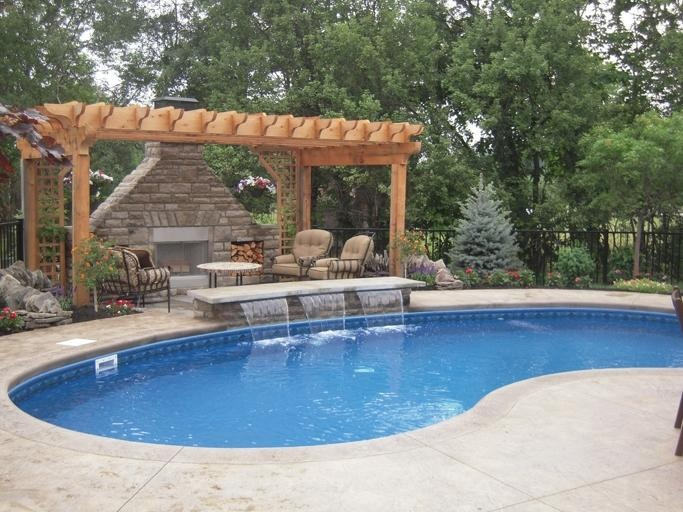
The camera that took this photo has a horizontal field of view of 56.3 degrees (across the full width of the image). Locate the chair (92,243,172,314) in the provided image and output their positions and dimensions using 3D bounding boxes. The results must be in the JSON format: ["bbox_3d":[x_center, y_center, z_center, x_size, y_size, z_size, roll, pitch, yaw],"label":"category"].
[{"bbox_3d":[-3.879,0.385,12.206,1.168,1.275,1.430,2,5,26],"label":"chair"}]

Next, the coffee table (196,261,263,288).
[{"bbox_3d":[-2.411,0.442,13.804,1.147,0.701,2.749,0,5,-9],"label":"coffee table"}]

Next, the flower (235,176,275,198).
[{"bbox_3d":[-3.040,-2.385,21.996,1.561,0.743,1.615,4,6,31],"label":"flower"}]

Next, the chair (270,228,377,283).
[{"bbox_3d":[-0.487,0.031,14.844,2.247,1.199,1.309,5,7,42],"label":"chair"}]

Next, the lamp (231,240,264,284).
[{"bbox_3d":[-2.220,0.161,14.895,1.173,1.028,0.285,1,-1,-15],"label":"lamp"}]
